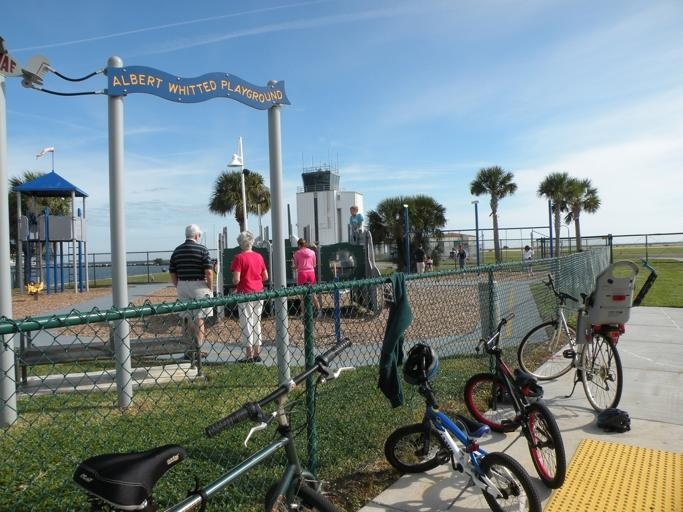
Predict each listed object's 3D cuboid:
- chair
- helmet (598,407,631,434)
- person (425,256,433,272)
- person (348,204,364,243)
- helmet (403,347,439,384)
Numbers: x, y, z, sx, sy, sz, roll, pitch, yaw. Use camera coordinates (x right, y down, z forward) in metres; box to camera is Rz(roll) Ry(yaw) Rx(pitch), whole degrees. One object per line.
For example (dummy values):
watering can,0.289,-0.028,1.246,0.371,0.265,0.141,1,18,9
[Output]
chair,3.198,0.607,7.281,0.530,1.163,0.801,0,5,0
helmet,2.933,1.793,6.498,0.264,0.104,0.231,-14,14,39
person,4.543,0.496,31.420,0.513,0.777,1.169,1,14,16
person,0.371,-0.807,15.576,0.333,0.982,1.080,-2,2,-2
helmet,0.768,0.987,5.658,0.245,0.331,0.361,9,14,24
